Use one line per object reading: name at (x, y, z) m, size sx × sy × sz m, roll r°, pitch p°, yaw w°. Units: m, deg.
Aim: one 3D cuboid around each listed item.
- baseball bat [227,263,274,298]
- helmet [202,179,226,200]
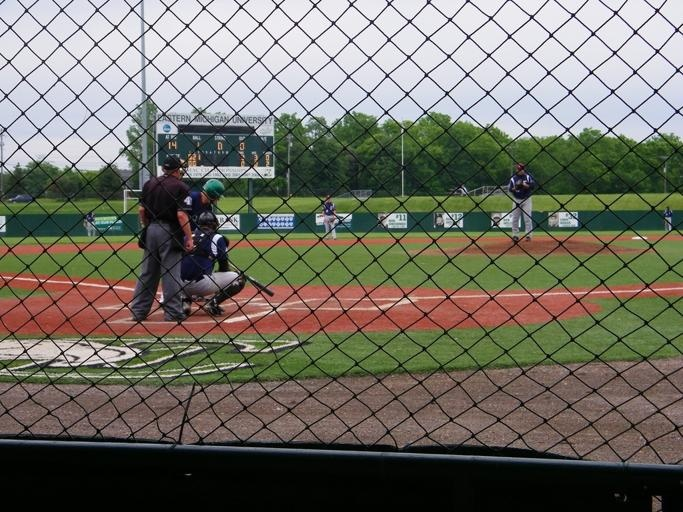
baseball bat at (-1.078, 0.301, 14.261) m, size 0.921 × 0.109 × 0.103 m, roll 27°, pitch 15°, yaw -21°
helmet at (-1.358, -0.696, 12.855) m, size 0.202 × 0.226 × 0.499 m, roll -2°, pitch 8°, yaw -6°
